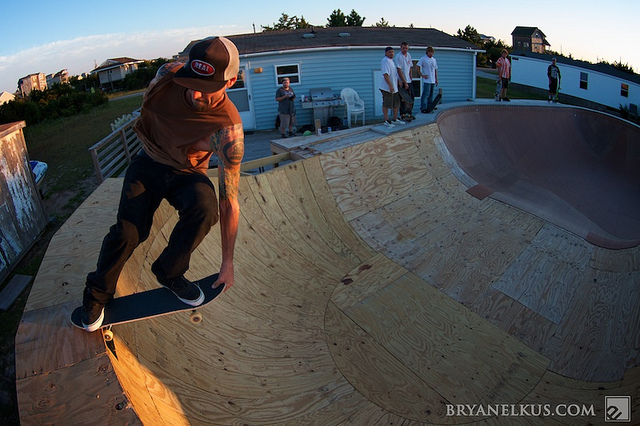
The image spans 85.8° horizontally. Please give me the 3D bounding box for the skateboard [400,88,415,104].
[{"bbox_3d":[2.552,-3.385,9.964,0.489,0.133,0.359,31,32,-5],"label":"skateboard"}]

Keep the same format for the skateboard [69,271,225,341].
[{"bbox_3d":[-1.790,0.921,3.417,1.542,0.287,0.381,-21,49,-8],"label":"skateboard"}]

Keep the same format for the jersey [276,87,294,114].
[{"bbox_3d":[-1.356,-4.156,12.769,0.522,0.912,0.628,-18,26,-33],"label":"jersey"}]

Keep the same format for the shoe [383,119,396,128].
[{"bbox_3d":[1.839,-2.423,9.289,0.161,0.223,0.480,-20,25,-27],"label":"shoe"}]

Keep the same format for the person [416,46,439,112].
[{"bbox_3d":[3.468,-4.320,11.121,0.613,1.888,1.262,3,23,16],"label":"person"}]

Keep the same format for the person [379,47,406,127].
[{"bbox_3d":[1.969,-3.498,9.455,0.626,1.942,1.288,1,22,13],"label":"person"}]

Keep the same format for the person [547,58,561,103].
[{"bbox_3d":[9.696,-5.536,14.200,0.442,1.608,3.381,10,26,31],"label":"person"}]

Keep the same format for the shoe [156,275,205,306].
[{"bbox_3d":[-1.291,0.744,3.278,0.485,0.195,0.184,3,10,26],"label":"shoe"}]

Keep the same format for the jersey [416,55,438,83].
[{"bbox_3d":[3.460,-4.648,11.095,0.579,0.843,0.432,3,23,16],"label":"jersey"}]

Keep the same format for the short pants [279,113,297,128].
[{"bbox_3d":[-1.244,-3.458,12.864,0.285,0.508,0.690,14,28,37],"label":"short pants"}]

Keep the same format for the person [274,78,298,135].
[{"bbox_3d":[-1.344,-3.940,12.790,0.646,1.966,0.953,1,22,12],"label":"person"}]

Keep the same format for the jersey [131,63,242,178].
[{"bbox_3d":[-1.296,-0.824,3.305,0.961,0.958,0.562,35,30,1],"label":"jersey"}]
